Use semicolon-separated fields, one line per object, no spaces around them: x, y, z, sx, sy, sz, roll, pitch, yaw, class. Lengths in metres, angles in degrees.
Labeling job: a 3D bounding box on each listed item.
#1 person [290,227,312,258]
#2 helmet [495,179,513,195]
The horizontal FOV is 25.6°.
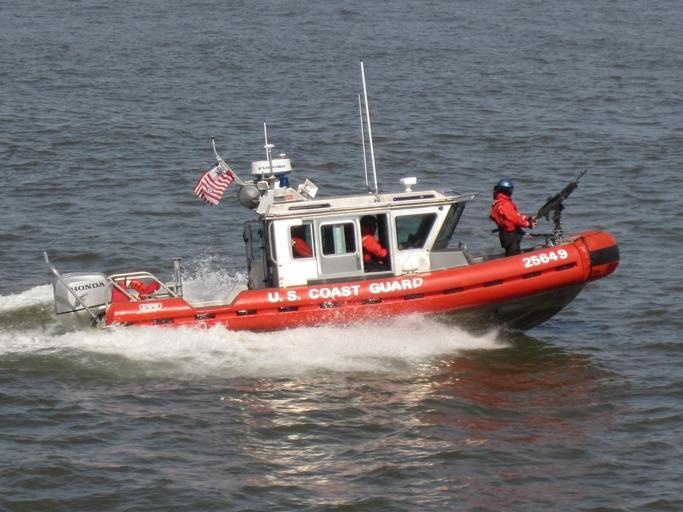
-0.963;-0.308;34.769;0.683;0.189;0.623;-6;96;0;person
3.713;-1.658;35.291;0.486;0.324;0.429;8;21;1;helmet
